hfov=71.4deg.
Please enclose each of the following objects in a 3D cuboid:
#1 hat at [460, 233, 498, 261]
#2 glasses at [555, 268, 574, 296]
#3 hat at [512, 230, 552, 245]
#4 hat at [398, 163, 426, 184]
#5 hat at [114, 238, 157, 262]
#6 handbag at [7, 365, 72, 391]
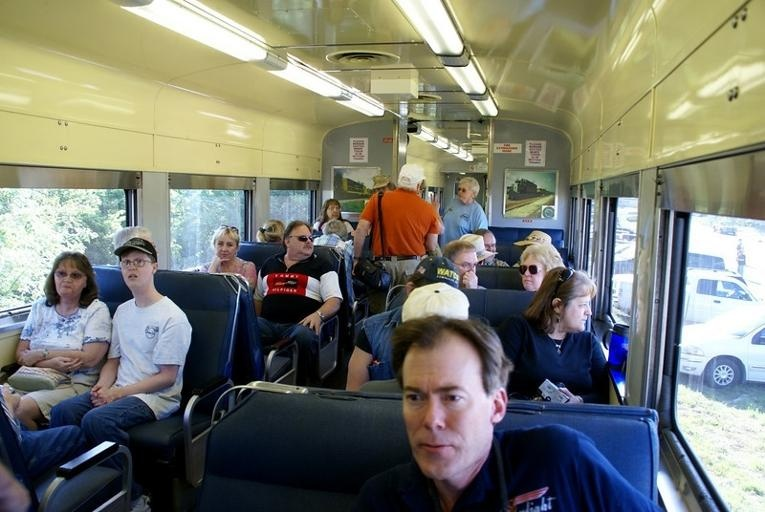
[{"bbox_3d":[1.136,-0.041,6.299,0.416,0.188,0.424,0,12,27],"label":"hat"},{"bbox_3d":[1.353,0.190,4.021,0.073,0.192,0.142,22,12,-15],"label":"glasses"},{"bbox_3d":[2.371,-0.289,8.522,0.622,0.233,0.412,6,-4,-32],"label":"hat"},{"bbox_3d":[0.374,-1.062,7.042,0.346,0.322,0.246,1,3,-34],"label":"hat"},{"bbox_3d":[-2.038,-0.065,4.524,0.211,0.112,0.287,-6,-11,5],"label":"hat"},{"bbox_3d":[-2.921,1.028,4.487,0.310,0.108,0.225,4,2,-4],"label":"handbag"}]
